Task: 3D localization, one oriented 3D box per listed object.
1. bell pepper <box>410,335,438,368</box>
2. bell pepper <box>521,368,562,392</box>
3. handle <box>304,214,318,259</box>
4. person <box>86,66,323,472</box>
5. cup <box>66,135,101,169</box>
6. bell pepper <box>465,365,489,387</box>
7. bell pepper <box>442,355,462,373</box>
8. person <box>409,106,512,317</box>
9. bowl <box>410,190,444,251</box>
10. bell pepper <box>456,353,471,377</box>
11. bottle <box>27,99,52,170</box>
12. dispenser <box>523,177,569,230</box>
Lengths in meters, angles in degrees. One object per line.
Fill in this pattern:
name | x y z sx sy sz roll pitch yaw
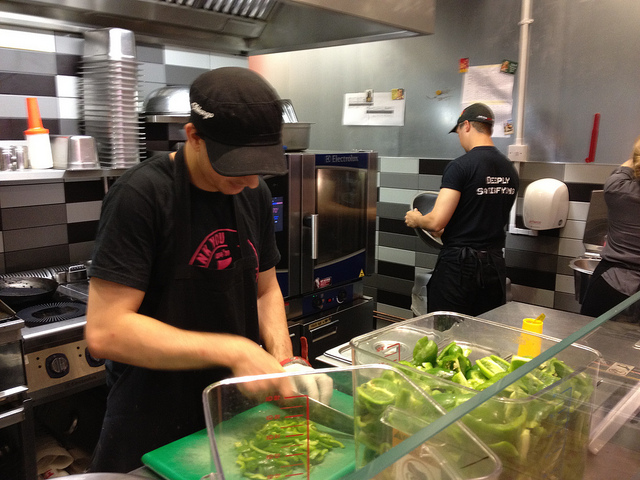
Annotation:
bell pepper | 0.260 0.288 1.161 0.070 0.029 0.052 -16 14 5
bell pepper | 0.389 0.237 0.786 0.047 0.014 0.047 -4 23 -10
handle | -0.041 -0.013 2.457 0.081 0.248 0.042 -10 19 -32
person | -0.355 0.126 1.249 0.640 1.137 0.536 -6 17 -21
cup | -1.132 -0.433 2.205 0.198 0.156 0.189 0 15 0
bell pepper | 0.363 0.315 1.042 0.054 0.021 0.055 -9 28 -6
bell pepper | 0.323 0.302 1.105 0.026 0.033 0.020 -10 2 -8
person | 0.843 -0.160 2.651 0.480 1.202 0.408 -7 17 -22
bowl | 0.744 -0.134 3.120 0.326 0.378 0.084 -15 -9 -45
bell pepper | 0.345 0.302 1.101 0.032 0.041 0.013 -12 -16 -33
bottle | -1.311 -0.490 2.093 0.092 0.311 0.109 -9 18 -28
dispenser | 1.459 -0.233 2.905 0.262 0.312 0.186 -10 19 -30
